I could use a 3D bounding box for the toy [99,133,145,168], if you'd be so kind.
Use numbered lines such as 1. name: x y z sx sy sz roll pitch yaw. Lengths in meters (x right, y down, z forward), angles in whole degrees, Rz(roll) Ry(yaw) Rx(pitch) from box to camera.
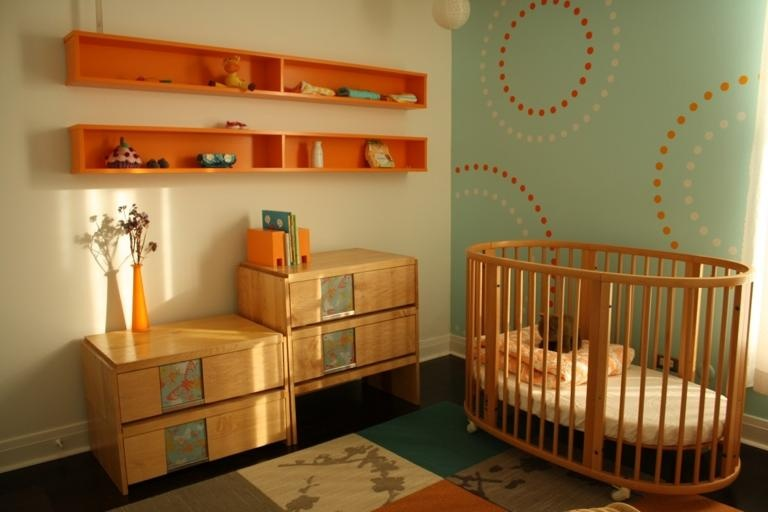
1. toy: -1.667 -0.660 3.634 0.228 0.178 0.218 -3 7 -25

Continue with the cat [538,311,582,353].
1. cat: 1.125 0.485 3.727 0.253 0.225 0.231 -6 10 -33

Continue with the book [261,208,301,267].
1. book: -0.718 -0.114 3.965 0.142 0.369 0.407 -8 12 -35

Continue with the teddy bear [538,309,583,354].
1. teddy bear: 1.129 0.512 3.730 0.331 0.270 0.233 1 6 -32

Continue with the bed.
1. bed: 1.383 0.583 3.772 1.019 1.160 1.778 -8 11 -42

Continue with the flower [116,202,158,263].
1. flower: -1.666 -0.100 3.835 0.205 0.374 0.172 -9 -14 -10

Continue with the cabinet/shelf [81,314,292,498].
1. cabinet/shelf: -1.268 0.826 3.678 1.345 0.830 0.938 -7 11 -38

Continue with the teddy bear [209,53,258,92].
1. teddy bear: -1.036 -1.247 3.971 0.321 0.219 0.218 5 7 40
